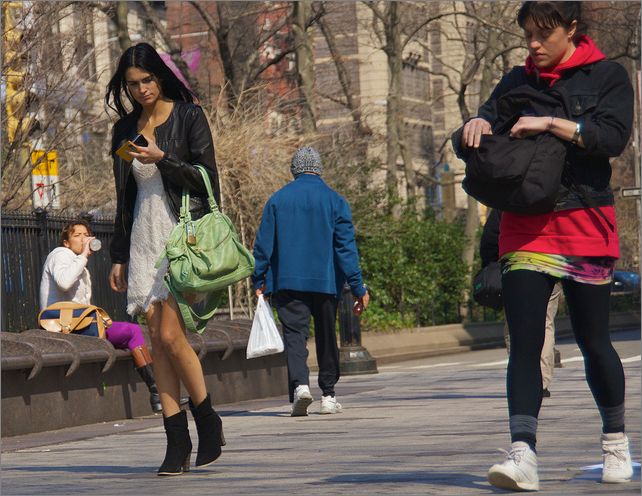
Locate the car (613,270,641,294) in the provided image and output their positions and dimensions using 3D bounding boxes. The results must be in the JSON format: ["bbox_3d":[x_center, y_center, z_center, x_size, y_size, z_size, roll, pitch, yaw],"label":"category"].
[{"bbox_3d":[11.646,1.313,46.224,1.235,0.630,1.691,3,13,11],"label":"car"}]

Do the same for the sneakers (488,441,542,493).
[{"bbox_3d":[1.190,1.355,7.521,0.167,0.256,0.426,-7,-19,31],"label":"sneakers"}]

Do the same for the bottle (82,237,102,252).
[{"bbox_3d":[-2.224,-0.033,11.865,0.142,0.150,0.137,4,1,-20],"label":"bottle"}]

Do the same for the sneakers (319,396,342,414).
[{"bbox_3d":[0.103,1.438,11.248,0.227,0.160,0.214,-3,-3,-9],"label":"sneakers"}]

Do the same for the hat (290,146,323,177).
[{"bbox_3d":[-0.134,-0.811,11.632,0.258,0.264,0.266,2,-7,-11],"label":"hat"}]

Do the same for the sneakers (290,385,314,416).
[{"bbox_3d":[-0.187,1.394,11.171,0.192,0.281,0.281,-3,-3,-2],"label":"sneakers"}]

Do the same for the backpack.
[{"bbox_3d":[1.317,-0.616,7.756,0.835,0.866,0.285,-4,-3,6],"label":"backpack"}]

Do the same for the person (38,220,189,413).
[{"bbox_3d":[-2.022,0.556,11.771,1.208,1.906,0.896,0,16,14],"label":"person"}]

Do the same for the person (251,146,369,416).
[{"bbox_3d":[-0.108,0.287,11.315,1.046,2.491,0.466,-3,-3,-5],"label":"person"}]

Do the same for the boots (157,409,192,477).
[{"bbox_3d":[-1.032,1.355,8.521,0.267,0.437,0.177,-2,-4,-26],"label":"boots"}]

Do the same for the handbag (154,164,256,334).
[{"bbox_3d":[-0.808,-0.002,8.564,0.342,1.166,0.594,-6,-4,42],"label":"handbag"}]
